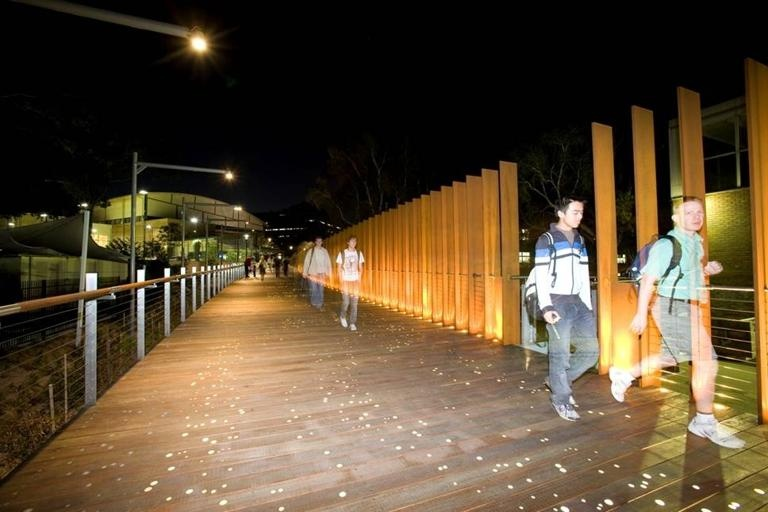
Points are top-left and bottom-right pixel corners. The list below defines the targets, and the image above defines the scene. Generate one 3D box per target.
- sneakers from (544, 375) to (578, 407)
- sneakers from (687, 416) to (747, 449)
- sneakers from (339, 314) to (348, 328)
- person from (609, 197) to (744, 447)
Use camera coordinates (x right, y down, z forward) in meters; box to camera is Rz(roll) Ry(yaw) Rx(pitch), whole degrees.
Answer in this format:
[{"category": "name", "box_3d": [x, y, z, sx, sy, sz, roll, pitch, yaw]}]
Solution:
[{"category": "sneakers", "box_3d": [2.425, 1.864, 6.498, 0.217, 0.275, 0.667, -8, -8, 7]}, {"category": "sneakers", "box_3d": [3.973, 2.055, 5.648, 0.529, 0.246, 0.271, 3, 13, 38]}, {"category": "sneakers", "box_3d": [-0.887, 1.436, 10.555, 0.112, 0.086, 0.307, -11, 26, -15]}, {"category": "person", "box_3d": [3.747, 0.756, 6.154, 1.194, 2.988, 0.973, -1, -2, 16]}]
